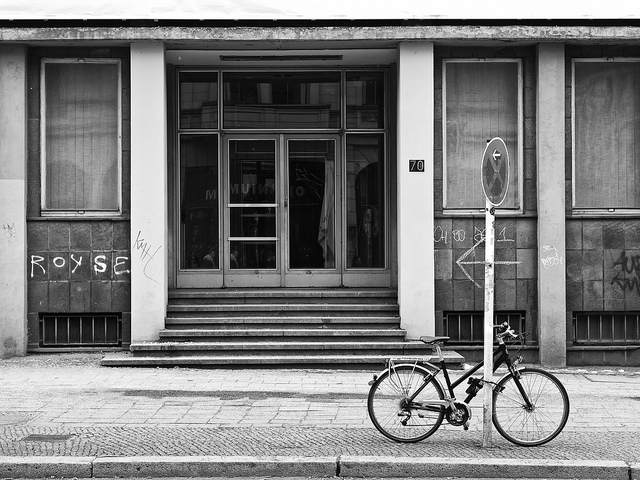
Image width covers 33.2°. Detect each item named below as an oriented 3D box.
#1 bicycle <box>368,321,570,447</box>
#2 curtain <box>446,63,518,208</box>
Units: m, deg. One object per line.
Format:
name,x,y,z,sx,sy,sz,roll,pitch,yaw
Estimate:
bicycle,1.934,1.888,13.972,2.618,1.518,1.132,1,-9,3
curtain,2.880,-1.854,18.944,1.295,2.586,0.385,-2,2,10
